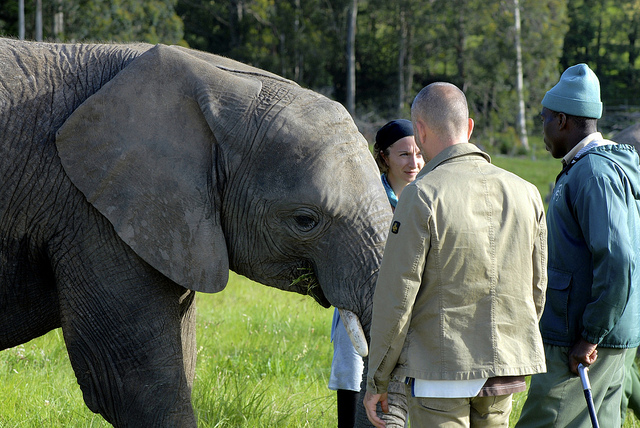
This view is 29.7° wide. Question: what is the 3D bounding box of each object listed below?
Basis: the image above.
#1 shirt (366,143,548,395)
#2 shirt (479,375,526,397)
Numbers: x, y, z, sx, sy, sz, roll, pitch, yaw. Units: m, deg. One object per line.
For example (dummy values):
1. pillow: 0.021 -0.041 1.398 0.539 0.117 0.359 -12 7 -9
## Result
1. shirt: 1.234 0.470 11.407 1.856 3.022 1.874 0 4 -13
2. shirt: 1.598 1.506 10.598 0.261 0.114 0.217 -17 3 7
